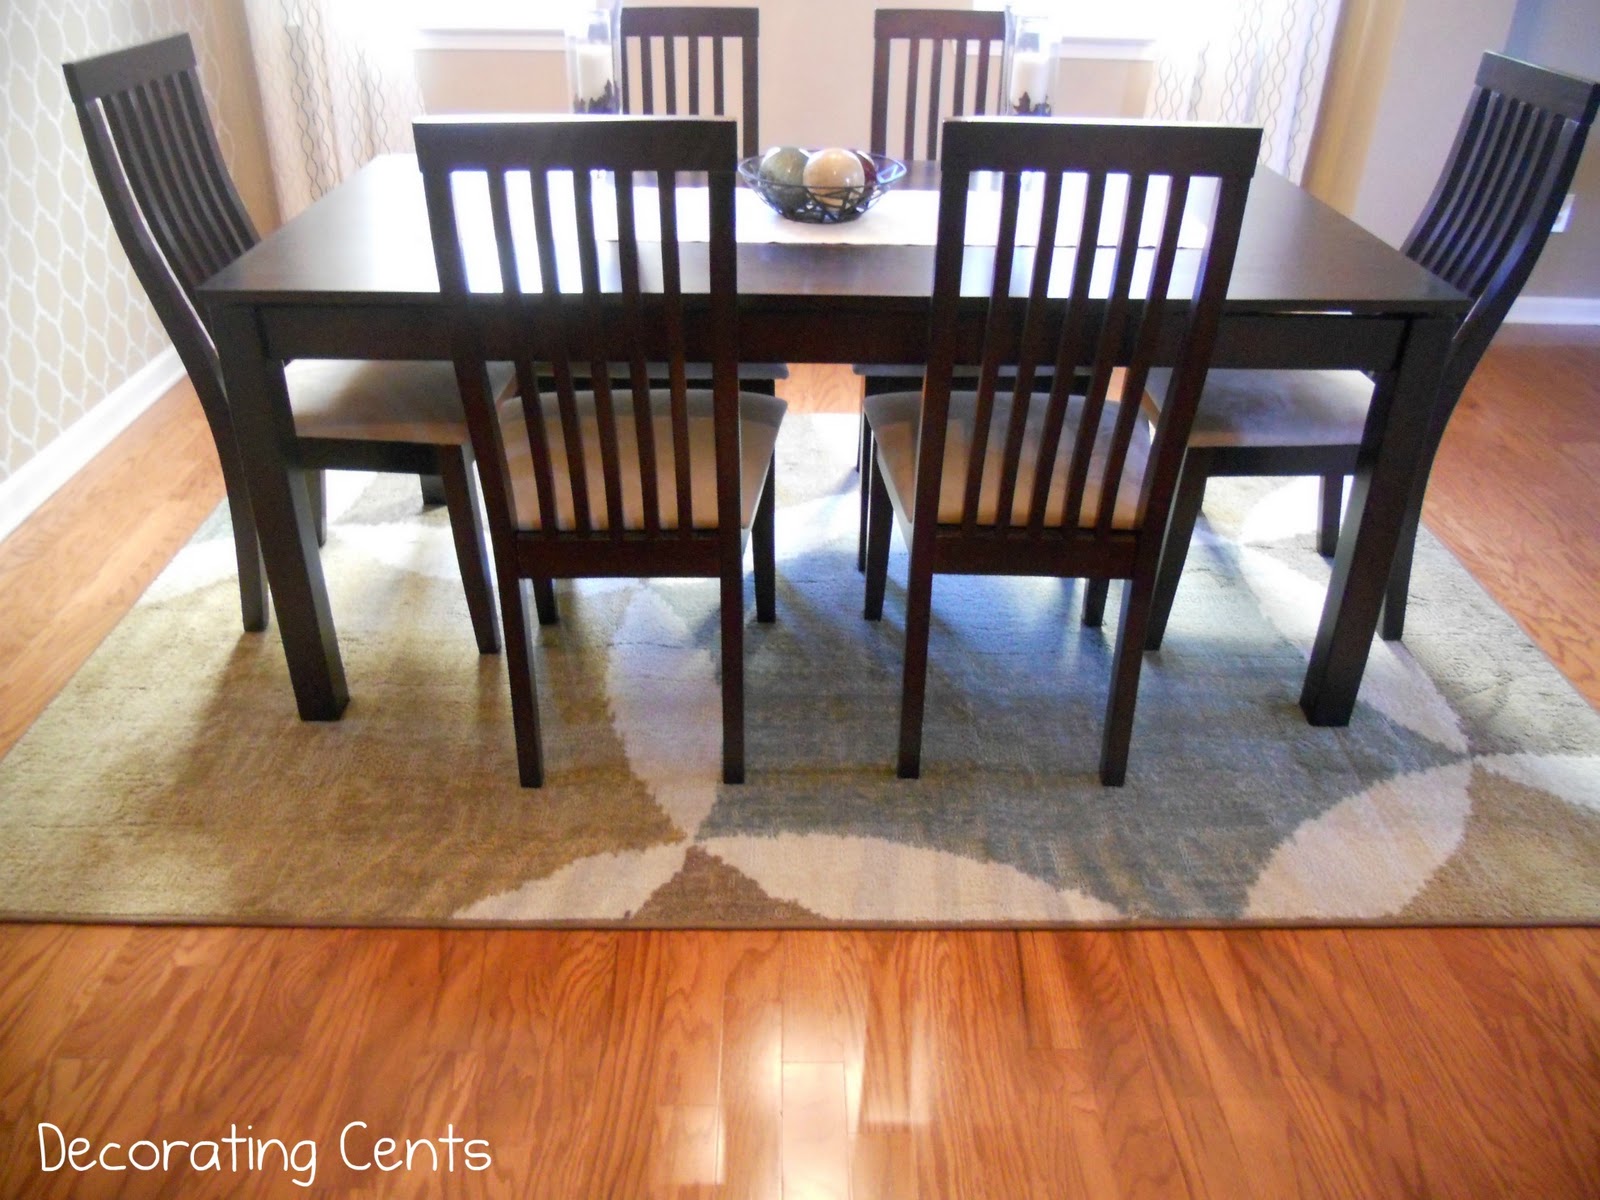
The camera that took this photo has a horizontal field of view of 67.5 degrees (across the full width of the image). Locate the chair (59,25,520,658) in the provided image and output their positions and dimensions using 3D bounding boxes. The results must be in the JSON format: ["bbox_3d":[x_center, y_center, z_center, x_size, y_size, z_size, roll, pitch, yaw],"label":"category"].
[{"bbox_3d":[-0.924,-0.479,2.449,0.798,1.143,0.755,-6,31,-21],"label":"chair"}]

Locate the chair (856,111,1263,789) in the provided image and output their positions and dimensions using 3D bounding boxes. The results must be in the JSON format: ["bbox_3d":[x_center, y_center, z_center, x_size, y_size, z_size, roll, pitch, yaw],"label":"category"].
[{"bbox_3d":[0.438,-0.327,2.202,0.631,1.137,0.714,2,33,3],"label":"chair"}]

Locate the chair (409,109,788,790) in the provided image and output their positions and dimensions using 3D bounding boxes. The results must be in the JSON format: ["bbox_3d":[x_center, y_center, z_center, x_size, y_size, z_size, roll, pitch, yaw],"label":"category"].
[{"bbox_3d":[-0.296,-0.318,2.178,0.599,1.127,0.727,-5,33,-9],"label":"chair"}]

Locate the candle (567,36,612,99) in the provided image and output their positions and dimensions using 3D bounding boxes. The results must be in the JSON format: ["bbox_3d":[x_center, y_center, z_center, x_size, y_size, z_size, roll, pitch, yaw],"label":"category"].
[{"bbox_3d":[-0.457,-1.147,2.604,0.091,0.121,0.141,-6,33,-10],"label":"candle"}]
